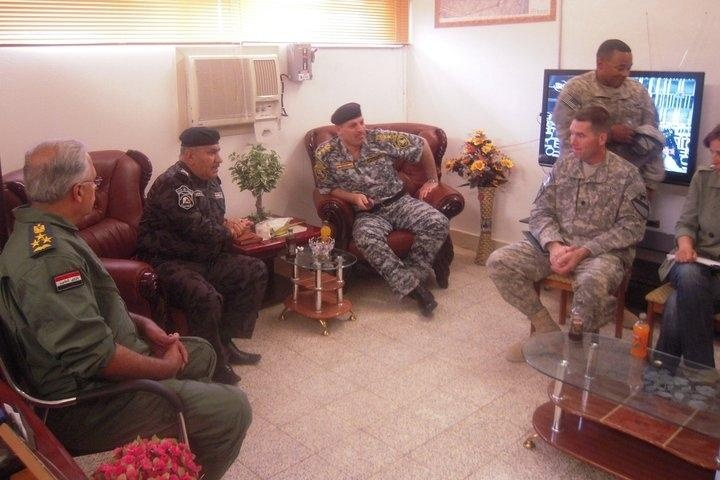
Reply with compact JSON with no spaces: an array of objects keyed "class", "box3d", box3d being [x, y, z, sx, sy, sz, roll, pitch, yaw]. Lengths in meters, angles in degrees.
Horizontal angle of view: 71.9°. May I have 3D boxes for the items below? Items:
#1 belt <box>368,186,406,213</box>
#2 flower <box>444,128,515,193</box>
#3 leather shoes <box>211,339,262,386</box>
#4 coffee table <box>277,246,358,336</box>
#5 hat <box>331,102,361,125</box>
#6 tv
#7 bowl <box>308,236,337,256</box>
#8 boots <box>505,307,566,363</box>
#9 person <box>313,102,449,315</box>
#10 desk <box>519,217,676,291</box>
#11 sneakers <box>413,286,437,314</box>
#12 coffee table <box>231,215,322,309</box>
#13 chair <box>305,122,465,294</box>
[{"class":"belt","box3d":[0.238,-0.341,4.340,0.224,0.065,0.202,-20,10,40]},{"class":"flower","box3d":[1.084,-0.776,4.819,0.613,0.632,0.614,-19,28,-9]},{"class":"leather shoes","box3d":[-0.839,0.808,3.303,0.226,0.099,0.279,6,23,8]},{"class":"coffee table","box3d":[-0.284,0.360,3.905,0.544,0.494,0.705,-12,18,-38]},{"class":"hat","box3d":[-0.140,-1.060,4.210,0.225,0.079,0.194,-5,26,41]},{"class":"tv","box3d":[1.984,-0.823,3.649,1.111,0.719,0.087,6,7,25]},{"class":"bowl","box3d":[-0.281,0.043,3.834,0.153,0.097,0.154,2,3,0]},{"class":"boots","box3d":[1.188,0.642,3.422,0.219,0.326,0.502,-15,-4,-38]},{"class":"person","box3d":[0.294,-0.351,4.347,1.142,1.660,1.243,-21,30,-25]},{"class":"desk","box3d":[2.021,0.156,3.866,0.982,0.214,0.512,3,18,-46]},{"class":"sneakers","box3d":[0.504,0.473,3.960,0.162,0.235,0.059,-30,-14,-12]},{"class":"coffee table","box3d":[-0.758,0.155,4.125,0.694,0.576,0.844,18,26,38]},{"class":"chair","box3d":[0.209,-0.395,4.668,1.321,1.281,1.174,-3,17,-4]}]
